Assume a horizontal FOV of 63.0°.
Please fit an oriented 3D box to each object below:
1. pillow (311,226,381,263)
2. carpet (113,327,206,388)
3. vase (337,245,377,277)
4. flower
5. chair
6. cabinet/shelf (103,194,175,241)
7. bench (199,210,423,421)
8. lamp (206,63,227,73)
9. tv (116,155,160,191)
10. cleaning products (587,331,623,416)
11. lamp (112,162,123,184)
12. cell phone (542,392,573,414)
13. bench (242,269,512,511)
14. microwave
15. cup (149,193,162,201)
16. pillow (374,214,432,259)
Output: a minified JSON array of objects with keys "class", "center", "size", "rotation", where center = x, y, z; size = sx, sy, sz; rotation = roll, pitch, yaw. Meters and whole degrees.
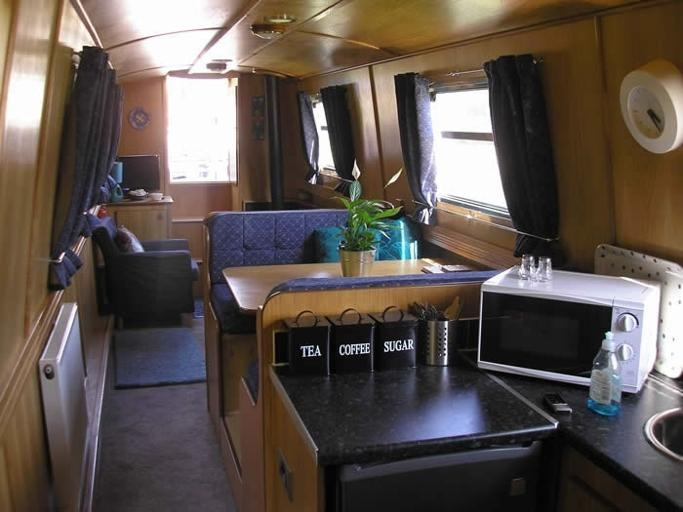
[{"class":"pillow","center":[-0.074,-0.159,4.780],"size":[0.340,0.367,0.410],"rotation":[7,6,40]},{"class":"carpet","center":[-1.673,0.897,5.182],"size":[0.807,0.028,0.910],"rotation":[2,27,-22]},{"class":"vase","center":[0.100,0.023,3.681],"size":[0.195,0.155,0.188],"rotation":[4,3,31]},{"class":"flower","center":[0.177,-0.283,3.756],"size":[0.542,0.643,0.562],"rotation":[9,14,7]},{"class":"chair","center":[-2.136,0.096,6.301],"size":[1.166,1.009,1.122],"rotation":[-5,11,-35]},{"class":"cabinet/shelf","center":[-2.548,-0.507,7.052],"size":[0.805,0.795,0.487],"rotation":[-2,6,-17]},{"class":"bench","center":[-0.406,0.636,4.681],"size":[1.392,1.939,1.296],"rotation":[-2,13,-16]},{"class":"lamp","center":[-1.441,-2.226,6.466],"size":[0.181,0.045,0.179],"rotation":[-9,16,-40]},{"class":"tv","center":[-2.686,-1.143,7.495],"size":[0.513,0.475,0.062],"rotation":[-2,5,-7]},{"class":"cleaning products","center":[1.023,0.434,2.143],"size":[0.112,0.304,0.186],"rotation":[9,14,29]},{"class":"lamp","center":[-2.892,-1.104,7.239],"size":[0.091,0.298,0.344],"rotation":[-1,13,-13]},{"class":"cell phone","center":[0.833,0.565,2.167],"size":[0.096,0.029,0.141],"rotation":[2,14,-4]},{"class":"bench","center":[0.002,0.535,3.119],"size":[1.507,1.545,1.164],"rotation":[-3,17,-16]},{"class":"microwave","center":[0.904,0.277,2.272],"size":[0.642,0.438,0.465],"rotation":[5,8,33]},{"class":"cup","center":[-2.396,-0.798,7.258],"size":[0.117,0.064,0.170],"rotation":[-1,6,-13]},{"class":"pillow","center":[0.470,-0.136,4.926],"size":[0.230,0.352,0.237],"rotation":[-6,2,-42]}]
